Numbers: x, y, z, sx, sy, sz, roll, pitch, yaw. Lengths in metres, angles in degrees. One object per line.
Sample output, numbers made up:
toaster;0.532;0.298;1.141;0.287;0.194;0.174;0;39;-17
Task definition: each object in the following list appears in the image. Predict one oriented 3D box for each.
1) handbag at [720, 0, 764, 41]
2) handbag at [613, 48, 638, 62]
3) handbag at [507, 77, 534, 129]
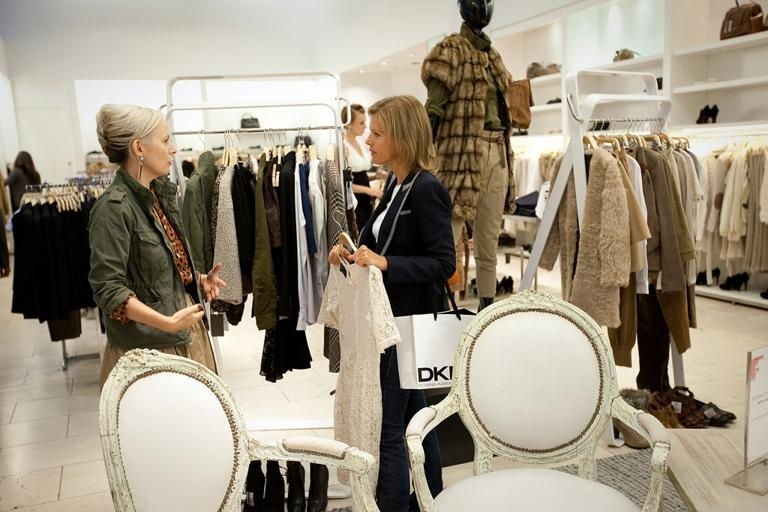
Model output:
handbag;3.845;-2.518;5.453;0.401;0.371;0.247;4;12;34
handbag;3.003;-2.481;6.347;0.246;0.117;0.249;7;17;40
handbag;1.013;-1.140;3.895;0.215;0.379;0.052;-3;7;-12
